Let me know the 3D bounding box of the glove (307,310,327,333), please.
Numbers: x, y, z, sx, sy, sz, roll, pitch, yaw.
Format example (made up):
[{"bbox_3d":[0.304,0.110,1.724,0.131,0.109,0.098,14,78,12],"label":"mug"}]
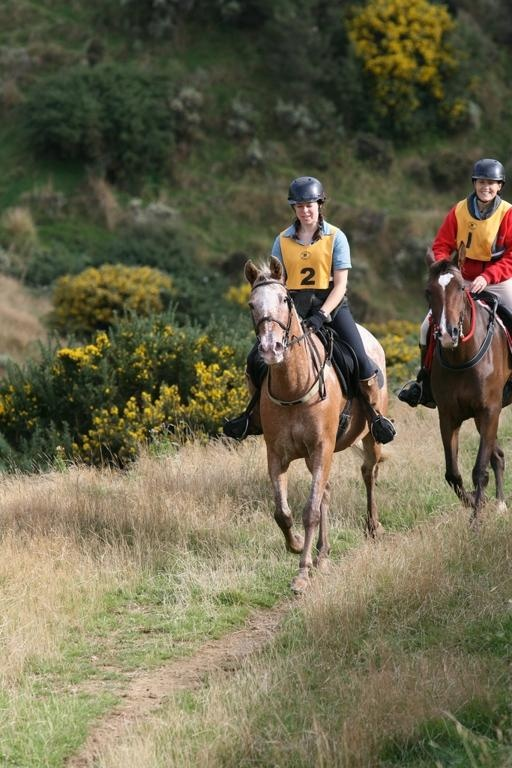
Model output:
[{"bbox_3d":[0.464,-0.462,8.125,0.070,0.063,0.208,46,19,14],"label":"glove"}]

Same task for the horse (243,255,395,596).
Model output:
[{"bbox_3d":[0.413,0.239,8.014,0.712,2.325,2.082,2,8,14],"label":"horse"}]

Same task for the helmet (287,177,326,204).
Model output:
[{"bbox_3d":[0.388,-1.439,8.218,0.267,0.219,0.476,0,7,2],"label":"helmet"}]

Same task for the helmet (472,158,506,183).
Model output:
[{"bbox_3d":[1.936,-1.738,9.045,0.210,0.160,0.250,6,22,14],"label":"helmet"}]
